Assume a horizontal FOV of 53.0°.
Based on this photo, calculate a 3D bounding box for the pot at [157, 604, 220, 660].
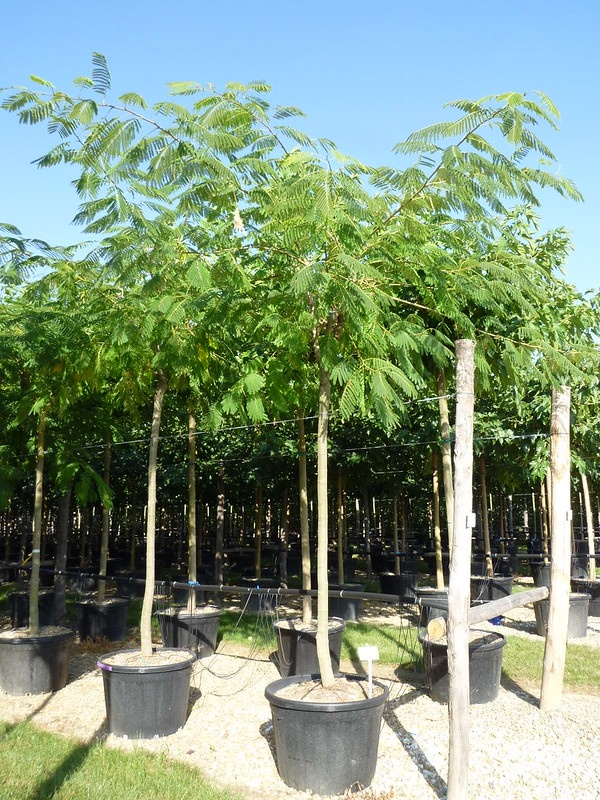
[{"bbox_3d":[-1.325,2.923,7.564,0.746,0.472,0.725,-3,-17,-1],"label":"pot"}]

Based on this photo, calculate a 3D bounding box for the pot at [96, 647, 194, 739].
[{"bbox_3d":[-1.180,2.399,4.947,0.728,0.477,0.755,-5,-15,-1],"label":"pot"}]

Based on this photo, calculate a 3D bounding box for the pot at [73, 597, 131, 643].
[{"bbox_3d":[-2.751,3.011,8.237,0.562,0.438,0.626,0,-16,-1],"label":"pot"}]

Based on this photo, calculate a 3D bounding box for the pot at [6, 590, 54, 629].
[{"bbox_3d":[-4.103,3.081,8.909,0.780,0.471,0.602,-3,-9,12],"label":"pot"}]
